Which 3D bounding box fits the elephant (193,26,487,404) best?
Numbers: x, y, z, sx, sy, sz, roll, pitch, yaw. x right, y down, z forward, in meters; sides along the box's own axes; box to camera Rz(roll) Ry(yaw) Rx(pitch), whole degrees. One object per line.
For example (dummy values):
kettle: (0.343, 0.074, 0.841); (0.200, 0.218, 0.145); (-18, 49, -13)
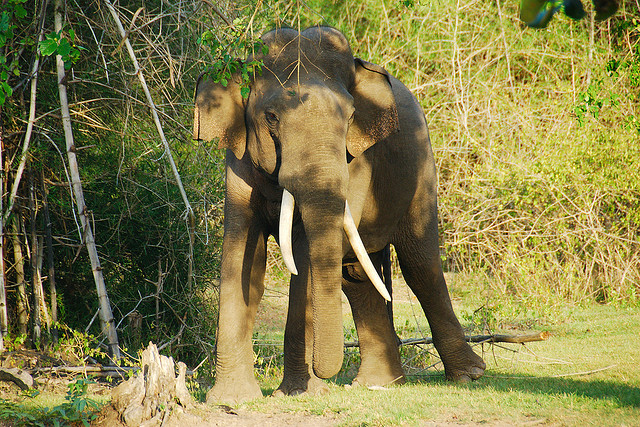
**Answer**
elephant: (0.097, 0.005, 8.636); (2.493, 3.545, 1.595); (1, -11, -43)
